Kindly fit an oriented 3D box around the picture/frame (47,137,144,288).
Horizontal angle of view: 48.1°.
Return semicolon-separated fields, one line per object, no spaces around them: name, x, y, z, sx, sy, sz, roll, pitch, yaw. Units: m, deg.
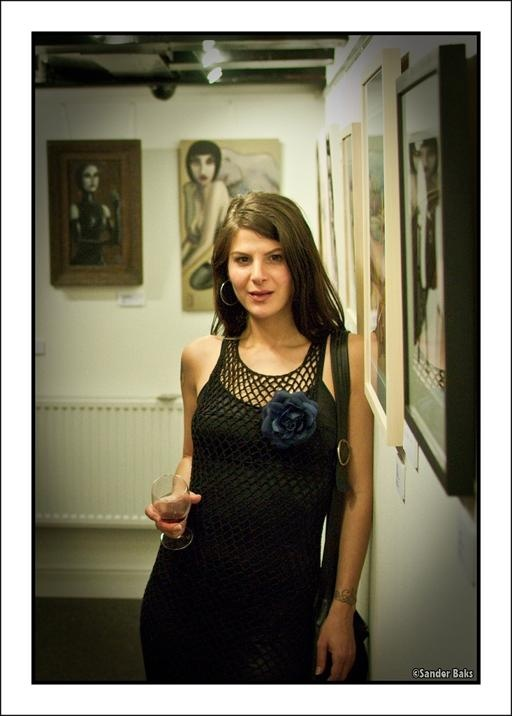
picture/frame;-0.445;-0.419;1.612;0.287;0.609;0.024;0;2;6

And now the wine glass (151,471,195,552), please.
wine glass;-0.207;0.399;1.426;0.088;0.265;0.226;-3;7;-7

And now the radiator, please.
radiator;-0.411;0.279;1.612;0.266;0.322;0.027;0;3;-4

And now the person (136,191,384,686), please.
person;-0.008;0.236;1.506;0.622;1.297;0.255;-1;6;15
